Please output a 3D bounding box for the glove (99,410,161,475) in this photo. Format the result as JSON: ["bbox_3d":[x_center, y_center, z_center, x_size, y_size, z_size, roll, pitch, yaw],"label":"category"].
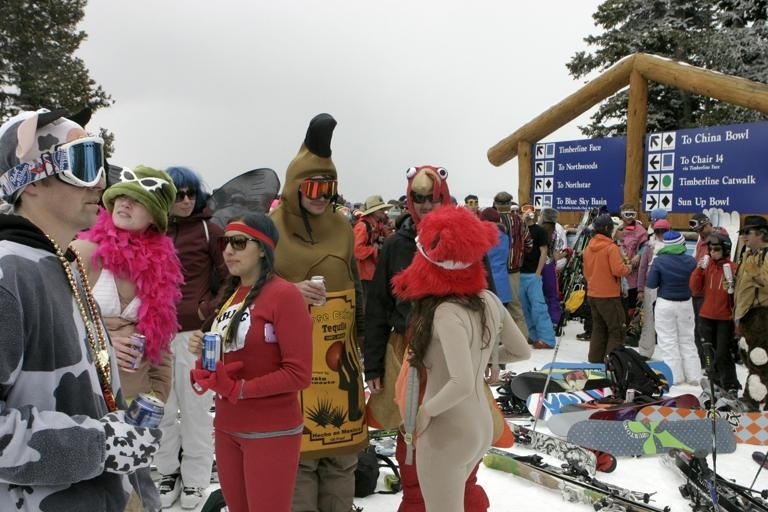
[{"bbox_3d":[-1.418,1.050,4.143,0.273,0.364,0.162,26,-35,0],"label":"glove"}]

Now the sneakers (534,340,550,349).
[{"bbox_3d":[2.618,1.490,12.331,0.292,0.121,0.109,1,0,6],"label":"sneakers"}]

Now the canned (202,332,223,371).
[{"bbox_3d":[-1.205,0.669,5.121,0.142,0.265,0.075,-1,-3,-11],"label":"canned"}]

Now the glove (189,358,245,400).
[{"bbox_3d":[-1.140,0.868,5.230,0.402,0.371,0.264,-11,-10,9],"label":"glove"}]

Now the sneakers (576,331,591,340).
[{"bbox_3d":[3.580,1.452,13.267,0.108,0.147,0.295,0,-7,36],"label":"sneakers"}]
